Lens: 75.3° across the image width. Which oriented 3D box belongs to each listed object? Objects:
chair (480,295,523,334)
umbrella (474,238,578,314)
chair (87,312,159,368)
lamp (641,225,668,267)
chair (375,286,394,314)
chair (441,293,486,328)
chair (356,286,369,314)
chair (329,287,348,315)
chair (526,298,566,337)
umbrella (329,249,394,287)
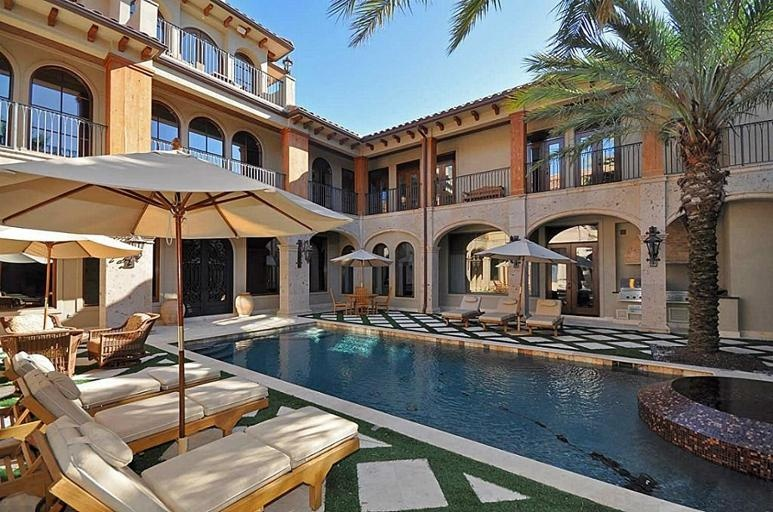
[{"bbox_3d":[3.349,1.665,14.500,0.778,0.765,1.415,1,6,37],"label":"chair"},{"bbox_3d":[3.538,0.482,13.966,2.343,1.444,2.281,7,-8,-35],"label":"umbrella"},{"bbox_3d":[-5.629,1.753,10.695,1.232,0.970,0.954,-2,1,-43],"label":"chair"},{"bbox_3d":[7.143,-0.250,13.372,0.548,1.069,0.264,-4,-4,27],"label":"lamp"},{"bbox_3d":[-0.167,1.735,18.768,0.834,1.060,0.681,3,-6,-18],"label":"chair"},{"bbox_3d":[2.253,1.678,15.289,0.701,0.744,1.342,-4,-5,36],"label":"chair"},{"bbox_3d":[-0.853,1.544,17.426,0.435,0.890,0.438,-1,-4,-4],"label":"chair"},{"bbox_3d":[-1.820,1.746,18.709,0.950,1.219,0.771,-1,1,4],"label":"chair"},{"bbox_3d":[4.410,1.677,13.932,0.811,0.705,1.253,0,8,31],"label":"chair"},{"bbox_3d":[-0.876,0.543,17.878,2.237,1.450,2.291,4,8,29],"label":"umbrella"}]
